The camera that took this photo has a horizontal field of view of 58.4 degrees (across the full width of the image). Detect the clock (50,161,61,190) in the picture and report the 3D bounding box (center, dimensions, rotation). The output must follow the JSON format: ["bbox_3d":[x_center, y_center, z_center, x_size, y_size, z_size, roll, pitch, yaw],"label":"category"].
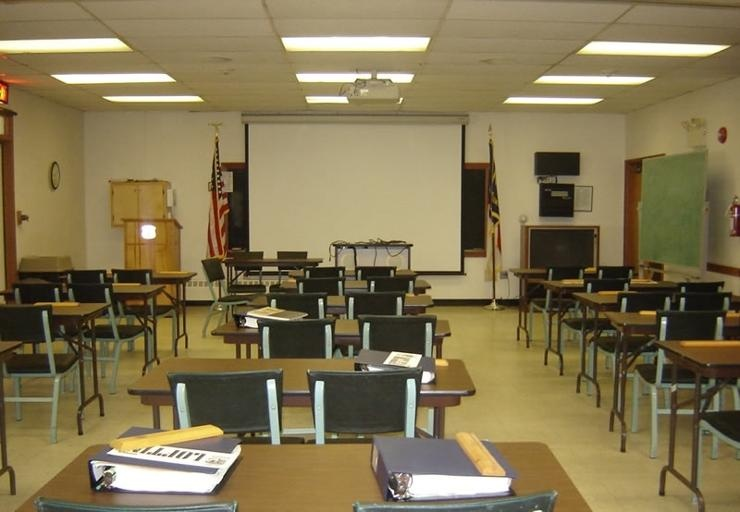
[{"bbox_3d":[-4.967,-1.260,10.430,0.073,0.465,0.327,-2,3,-5],"label":"clock"}]

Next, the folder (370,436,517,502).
[{"bbox_3d":[0.376,1.152,3.567,0.487,0.142,0.368,1,4,-5],"label":"folder"}]

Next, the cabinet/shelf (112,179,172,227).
[{"bbox_3d":[-3.773,-0.871,11.218,1.218,1.013,0.688,0,0,5],"label":"cabinet/shelf"}]

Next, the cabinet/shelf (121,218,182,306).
[{"bbox_3d":[-3.638,-0.050,10.409,1.008,1.646,1.004,-1,5,-5],"label":"cabinet/shelf"}]

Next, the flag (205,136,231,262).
[{"bbox_3d":[-2.517,-0.997,10.853,0.339,2.062,1.283,-3,3,-12],"label":"flag"}]

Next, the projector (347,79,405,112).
[{"bbox_3d":[0.063,-2.129,8.708,0.557,0.218,0.549,1,8,3],"label":"projector"}]

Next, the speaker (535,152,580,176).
[{"bbox_3d":[3.200,-1.585,11.429,0.753,0.412,0.182,-2,3,-2],"label":"speaker"}]

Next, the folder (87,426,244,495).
[{"bbox_3d":[-1.137,1.113,3.619,0.443,0.105,0.446,2,5,0],"label":"folder"}]
